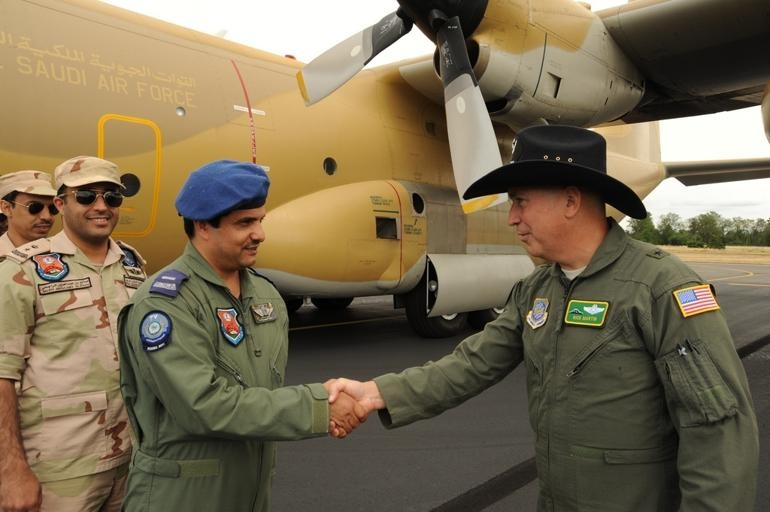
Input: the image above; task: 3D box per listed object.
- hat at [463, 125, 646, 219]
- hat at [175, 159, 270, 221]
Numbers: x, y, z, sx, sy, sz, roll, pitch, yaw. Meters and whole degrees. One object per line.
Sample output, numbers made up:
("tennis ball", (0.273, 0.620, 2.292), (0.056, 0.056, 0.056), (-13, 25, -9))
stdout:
("hat", (1.139, -0.543, 3.572), (0.817, 0.414, 0.694), (5, -11, -4))
("hat", (-1.007, -0.375, 3.475), (0.425, 0.160, 0.433), (-10, 26, 13))
